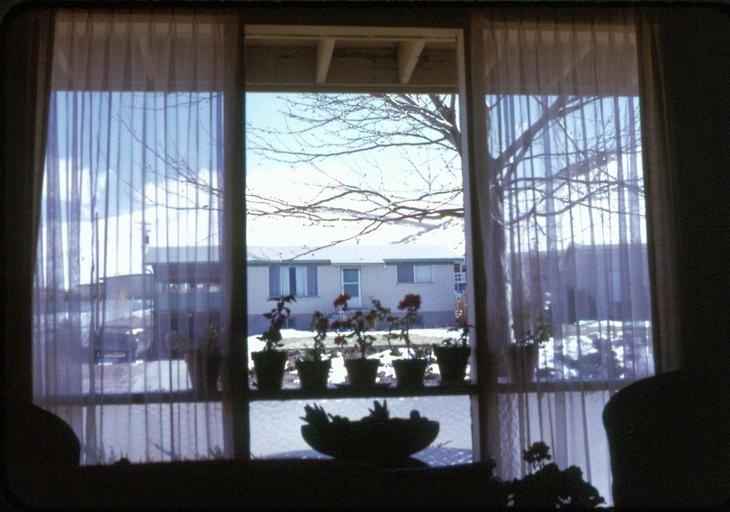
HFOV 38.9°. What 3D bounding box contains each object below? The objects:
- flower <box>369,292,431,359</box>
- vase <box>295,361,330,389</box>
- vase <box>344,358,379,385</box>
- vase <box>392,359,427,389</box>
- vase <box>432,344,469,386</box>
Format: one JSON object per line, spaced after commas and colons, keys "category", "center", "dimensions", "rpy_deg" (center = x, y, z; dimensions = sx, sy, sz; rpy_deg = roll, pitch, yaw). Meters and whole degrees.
{"category": "flower", "center": [0.117, 0.306, 4.281], "dimensions": [0.290, 0.354, 0.197], "rpy_deg": [3, -9, -11]}
{"category": "vase", "center": [-0.215, 0.476, 4.158], "dimensions": [0.114, 0.087, 0.116], "rpy_deg": [4, -7, -23]}
{"category": "vase", "center": [-0.015, 0.460, 4.166], "dimensions": [0.111, 0.076, 0.115], "rpy_deg": [0, -10, -4]}
{"category": "vase", "center": [0.183, 0.470, 4.173], "dimensions": [0.116, 0.078, 0.120], "rpy_deg": [1, -11, -5]}
{"category": "vase", "center": [0.351, 0.455, 4.222], "dimensions": [0.143, 0.174, 0.168], "rpy_deg": [-8, -13, 36]}
